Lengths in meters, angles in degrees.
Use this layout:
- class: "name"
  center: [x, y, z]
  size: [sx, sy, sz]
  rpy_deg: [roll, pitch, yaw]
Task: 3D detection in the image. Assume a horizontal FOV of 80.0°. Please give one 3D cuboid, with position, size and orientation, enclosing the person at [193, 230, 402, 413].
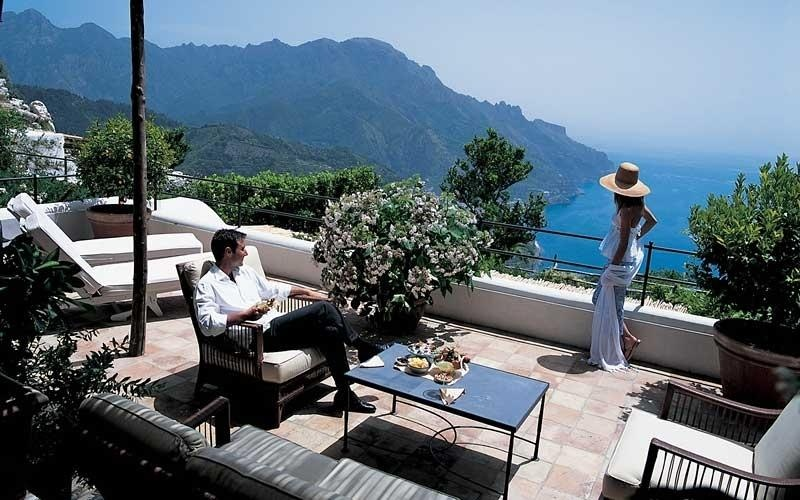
- class: "person"
  center: [-0.901, 0.607, 4.276]
  size: [1.693, 1.459, 0.910]
  rpy_deg: [3, 8, 0]

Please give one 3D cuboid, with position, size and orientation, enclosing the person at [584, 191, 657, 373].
- class: "person"
  center: [2.407, 0.343, 5.137]
  size: [0.571, 1.833, 0.583]
  rpy_deg: [7, 13, 9]

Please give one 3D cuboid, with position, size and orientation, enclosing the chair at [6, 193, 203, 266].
- class: "chair"
  center: [-3.614, -0.161, 6.211]
  size: [2.117, 0.859, 1.112]
  rpy_deg: [-8, 22, -33]

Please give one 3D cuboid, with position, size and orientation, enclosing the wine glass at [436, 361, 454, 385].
- class: "wine glass"
  center: [0.350, 0.944, 3.658]
  size: [0.122, 0.137, 0.061]
  rpy_deg: [-1, -23, 0]

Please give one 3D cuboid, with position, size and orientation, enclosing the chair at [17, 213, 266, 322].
- class: "chair"
  center: [-2.900, -0.026, 5.788]
  size: [2.355, 1.102, 1.267]
  rpy_deg: [-8, 28, -26]

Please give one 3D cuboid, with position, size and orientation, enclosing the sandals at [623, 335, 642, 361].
- class: "sandals"
  center: [2.497, 1.046, 5.203]
  size: [0.139, 0.349, 0.138]
  rpy_deg: [0, 30, 4]

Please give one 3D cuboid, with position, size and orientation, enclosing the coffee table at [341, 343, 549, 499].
- class: "coffee table"
  center: [0.504, 0.843, 3.607]
  size: [1.472, 0.705, 0.941]
  rpy_deg: [13, 17, 30]

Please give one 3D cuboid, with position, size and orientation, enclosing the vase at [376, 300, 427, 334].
- class: "vase"
  center: [0.026, 0.764, 5.405]
  size: [0.432, 0.294, 0.424]
  rpy_deg: [0, -6, -9]

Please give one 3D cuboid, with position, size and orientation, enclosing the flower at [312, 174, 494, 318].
- class: "flower"
  center: [-0.015, -0.037, 5.783]
  size: [1.767, 1.178, 1.652]
  rpy_deg: [-2, 19, -4]
